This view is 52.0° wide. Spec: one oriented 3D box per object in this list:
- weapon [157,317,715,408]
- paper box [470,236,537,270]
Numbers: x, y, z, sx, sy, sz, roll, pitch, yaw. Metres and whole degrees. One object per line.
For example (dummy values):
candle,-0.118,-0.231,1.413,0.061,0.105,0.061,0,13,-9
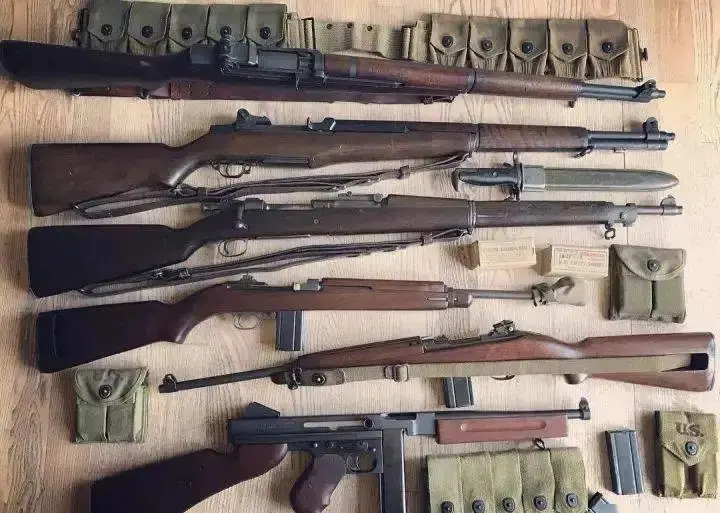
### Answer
weapon,0.392,0.776,5.396,3.157,0.631,0.429,-2,-18,-3
paper box,1.079,-0.024,5.418,0.454,0.231,0.214,-2,-9,2
